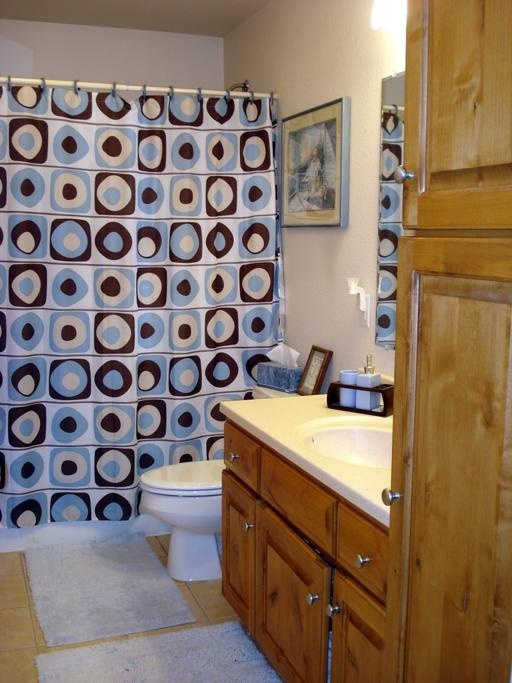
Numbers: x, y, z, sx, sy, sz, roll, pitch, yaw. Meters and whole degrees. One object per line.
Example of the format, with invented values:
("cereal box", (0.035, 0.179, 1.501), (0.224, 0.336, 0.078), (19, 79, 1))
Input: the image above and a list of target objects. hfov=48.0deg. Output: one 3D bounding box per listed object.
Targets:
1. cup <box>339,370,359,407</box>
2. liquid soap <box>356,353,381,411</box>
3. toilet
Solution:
("cup", (0.300, 0.156, 1.881), (0.060, 0.114, 0.091), (1, 4, 9))
("liquid soap", (0.359, 0.131, 1.838), (0.083, 0.171, 0.097), (2, 4, 24))
("toilet", (-0.280, 0.690, 2.706), (0.789, 1.047, 0.483), (0, 2, -20))
